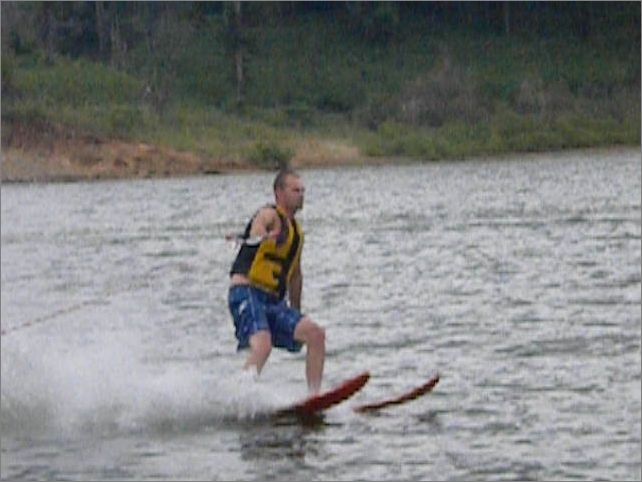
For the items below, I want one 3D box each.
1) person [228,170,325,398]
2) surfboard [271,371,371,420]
[{"bbox_3d":[-0.585,0.518,22.408,1.239,2.655,0.929,2,13,-4],"label":"person"},{"bbox_3d":[0.041,1.967,22.273,0.758,0.198,0.605,-30,-13,-8],"label":"surfboard"}]
